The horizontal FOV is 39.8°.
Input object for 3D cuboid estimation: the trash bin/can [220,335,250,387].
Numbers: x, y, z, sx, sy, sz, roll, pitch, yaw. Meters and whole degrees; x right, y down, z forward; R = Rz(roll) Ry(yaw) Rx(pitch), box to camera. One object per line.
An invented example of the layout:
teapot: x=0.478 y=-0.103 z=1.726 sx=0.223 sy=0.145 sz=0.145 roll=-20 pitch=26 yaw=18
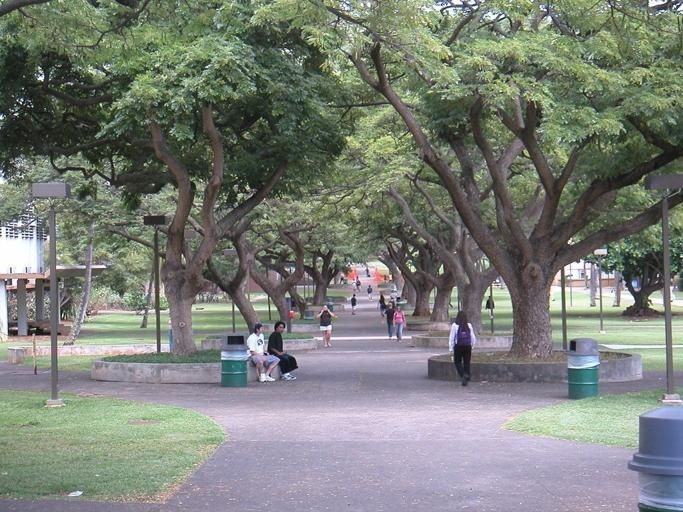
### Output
trash bin/can: x=-2.822 y=2.699 z=24.993 sx=0.838 sy=1.414 sz=0.843 roll=0 pitch=-3 yaw=-4

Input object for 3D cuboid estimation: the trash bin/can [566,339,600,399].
trash bin/can: x=5.708 y=2.501 z=21.497 sx=0.707 sy=1.346 sz=0.621 roll=-2 pitch=-5 yaw=10

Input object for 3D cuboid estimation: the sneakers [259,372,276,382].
sneakers: x=-1.974 y=3.245 z=25.783 sx=0.525 sy=0.226 sz=0.174 roll=-1 pitch=3 yaw=-24

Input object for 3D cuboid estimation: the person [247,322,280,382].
person: x=-2.146 y=2.571 z=25.793 sx=0.892 sy=1.597 sz=1.266 roll=-1 pitch=-5 yaw=-4

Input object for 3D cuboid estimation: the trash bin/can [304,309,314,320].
trash bin/can: x=-1.916 y=3.562 z=58.769 sx=0.527 sy=0.528 sz=0.537 roll=-2 pitch=-6 yaw=16

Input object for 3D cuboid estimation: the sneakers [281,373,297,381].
sneakers: x=-1.443 y=3.294 z=26.175 sx=0.438 sy=0.204 sz=0.159 roll=-5 pitch=-4 yaw=35
